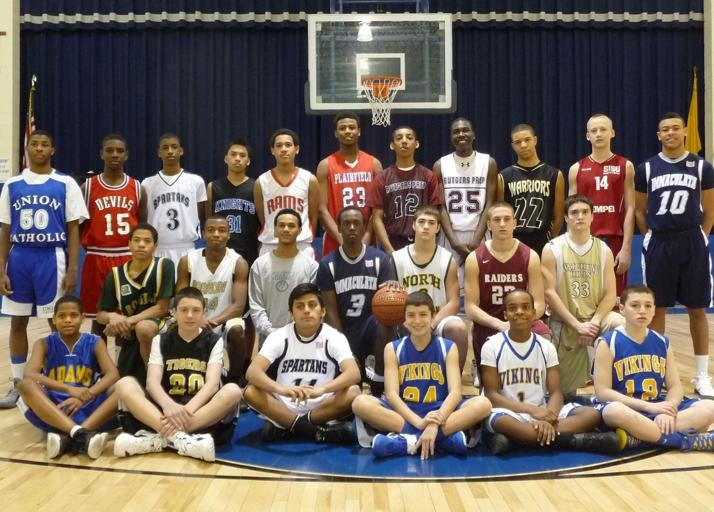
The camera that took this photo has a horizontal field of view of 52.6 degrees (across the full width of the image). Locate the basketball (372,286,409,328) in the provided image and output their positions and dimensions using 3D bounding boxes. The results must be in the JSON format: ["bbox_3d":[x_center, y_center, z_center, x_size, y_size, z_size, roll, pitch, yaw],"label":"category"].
[{"bbox_3d":[0.206,0.325,4.699,0.215,0.284,0.239,7,8,7],"label":"basketball"}]
